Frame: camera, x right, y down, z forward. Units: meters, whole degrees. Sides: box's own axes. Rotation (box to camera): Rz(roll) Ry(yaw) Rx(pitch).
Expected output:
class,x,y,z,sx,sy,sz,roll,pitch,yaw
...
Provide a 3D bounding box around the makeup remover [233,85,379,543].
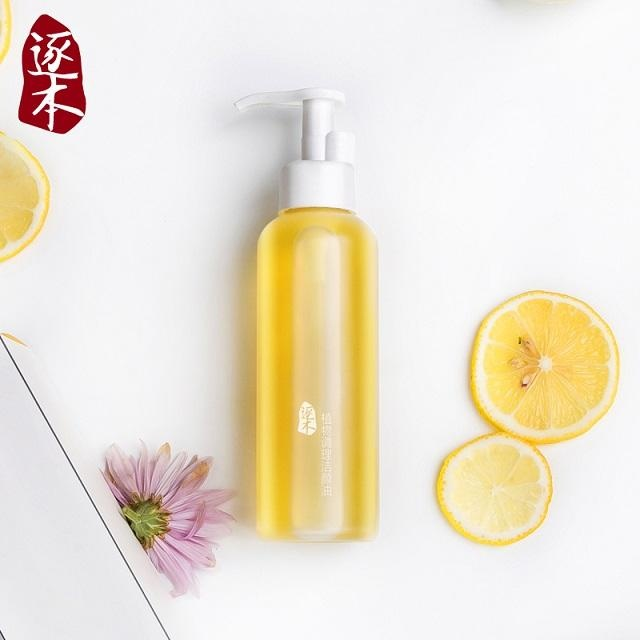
class,x,y,z,sx,sy,sz,roll,pitch,yaw
makeup remover,-0.019,-0.003,0.755,0.109,0.110,0.381,0,-93,-1
